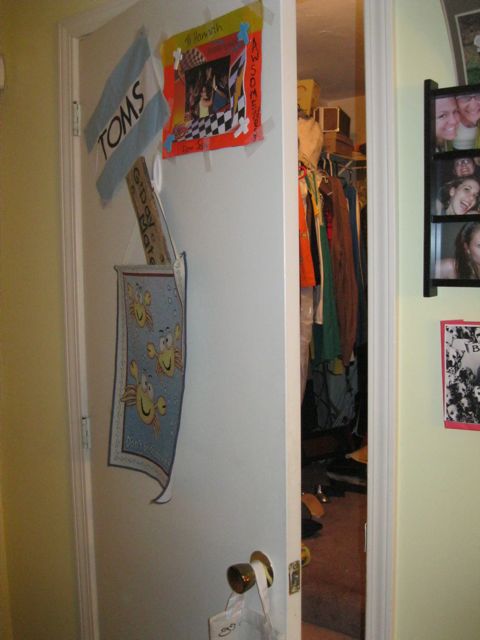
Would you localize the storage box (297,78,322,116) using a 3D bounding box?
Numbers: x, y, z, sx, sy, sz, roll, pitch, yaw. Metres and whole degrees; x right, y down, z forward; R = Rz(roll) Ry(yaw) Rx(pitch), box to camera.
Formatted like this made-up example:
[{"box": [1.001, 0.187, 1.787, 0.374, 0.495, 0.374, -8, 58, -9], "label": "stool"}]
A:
[{"box": [0.293, -0.957, 2.556, 0.081, 0.161, 0.169, -3, 1, 14], "label": "storage box"}]

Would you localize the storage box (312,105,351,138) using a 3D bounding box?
[{"box": [0.474, -1.015, 3.061, 0.104, 0.180, 0.255, 0, 18, 19], "label": "storage box"}]
